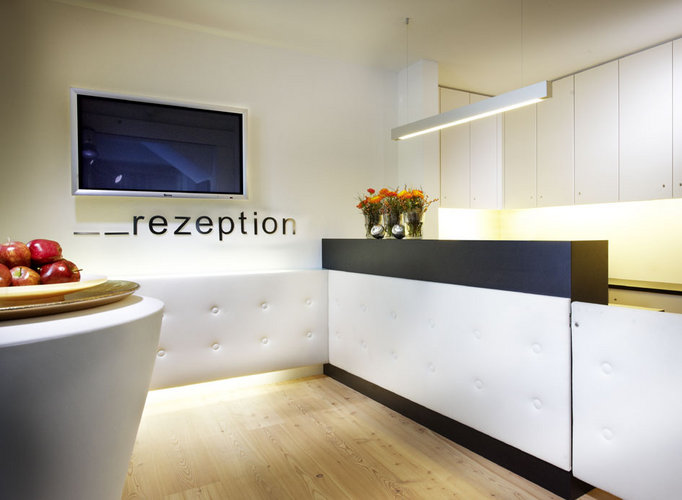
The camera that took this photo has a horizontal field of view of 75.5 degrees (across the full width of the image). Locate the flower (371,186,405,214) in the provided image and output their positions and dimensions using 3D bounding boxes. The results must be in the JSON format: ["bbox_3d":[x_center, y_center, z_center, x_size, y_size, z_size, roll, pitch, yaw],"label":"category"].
[{"bbox_3d":[0.367,-0.369,3.342,0.223,0.157,0.248,0,10,-25],"label":"flower"}]

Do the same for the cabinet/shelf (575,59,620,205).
[{"bbox_3d":[2.458,-1.118,4.243,0.503,1.313,0.265,7,12,43],"label":"cabinet/shelf"}]

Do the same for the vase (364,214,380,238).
[{"bbox_3d":[0.257,-0.188,3.428,0.144,0.184,0.153,2,-5,-9],"label":"vase"}]

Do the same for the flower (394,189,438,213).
[{"bbox_3d":[0.593,-0.397,3.507,0.284,0.232,0.330,0,5,-21],"label":"flower"}]

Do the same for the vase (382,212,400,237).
[{"bbox_3d":[0.388,-0.191,3.328,0.133,0.193,0.076,1,9,13],"label":"vase"}]

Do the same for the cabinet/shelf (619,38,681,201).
[{"bbox_3d":[2.708,-1.121,3.916,0.480,1.342,0.294,6,11,39],"label":"cabinet/shelf"}]
